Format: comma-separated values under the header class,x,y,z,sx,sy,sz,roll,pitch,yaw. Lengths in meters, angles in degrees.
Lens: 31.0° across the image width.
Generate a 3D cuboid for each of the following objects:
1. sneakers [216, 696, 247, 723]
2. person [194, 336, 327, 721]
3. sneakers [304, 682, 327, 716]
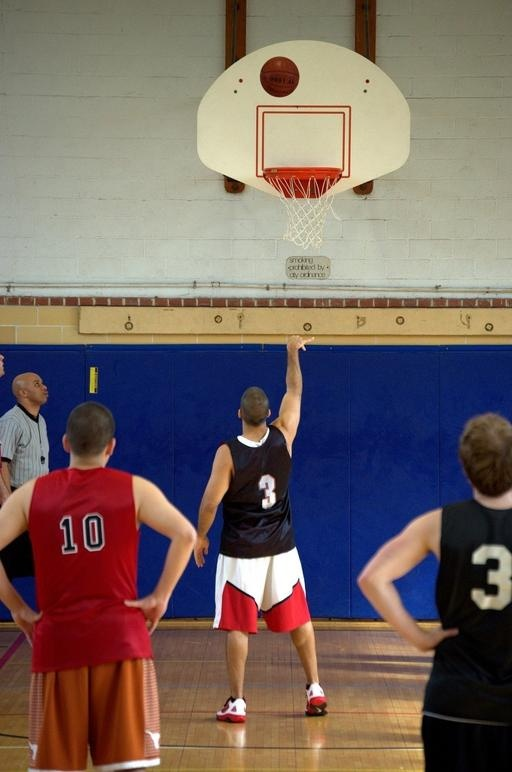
class,x,y,z,sx,sy,sz,roll,pitch,yaw
sneakers,-0.117,1.452,4.145,0.132,0.118,0.072,0,1,-3
person,0.031,0.640,4.294,0.585,1.736,0.566,0,0,14
sneakers,0.264,1.428,4.190,0.067,0.090,0.176,-4,-35,1
